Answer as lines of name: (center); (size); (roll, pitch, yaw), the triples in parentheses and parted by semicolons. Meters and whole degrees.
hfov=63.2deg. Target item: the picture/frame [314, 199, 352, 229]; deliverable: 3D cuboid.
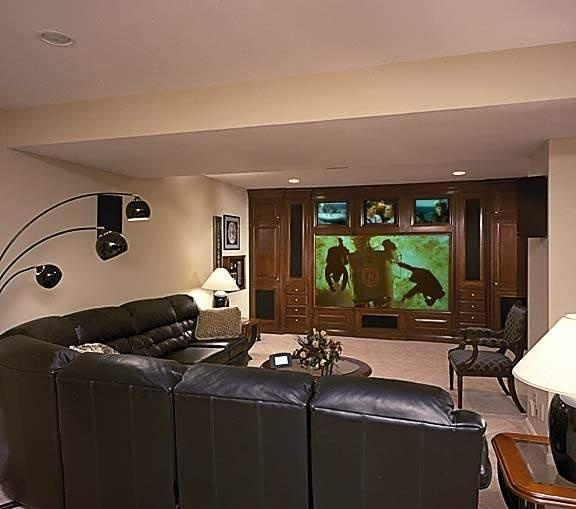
picture/frame: (0.711, -0.658, 7.573); (0.725, 0.463, 0.380); (-1, -3, 17)

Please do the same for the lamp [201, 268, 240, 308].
lamp: (-0.871, 0.435, 6.196); (0.557, 0.563, 0.534); (-1, 6, -9)
